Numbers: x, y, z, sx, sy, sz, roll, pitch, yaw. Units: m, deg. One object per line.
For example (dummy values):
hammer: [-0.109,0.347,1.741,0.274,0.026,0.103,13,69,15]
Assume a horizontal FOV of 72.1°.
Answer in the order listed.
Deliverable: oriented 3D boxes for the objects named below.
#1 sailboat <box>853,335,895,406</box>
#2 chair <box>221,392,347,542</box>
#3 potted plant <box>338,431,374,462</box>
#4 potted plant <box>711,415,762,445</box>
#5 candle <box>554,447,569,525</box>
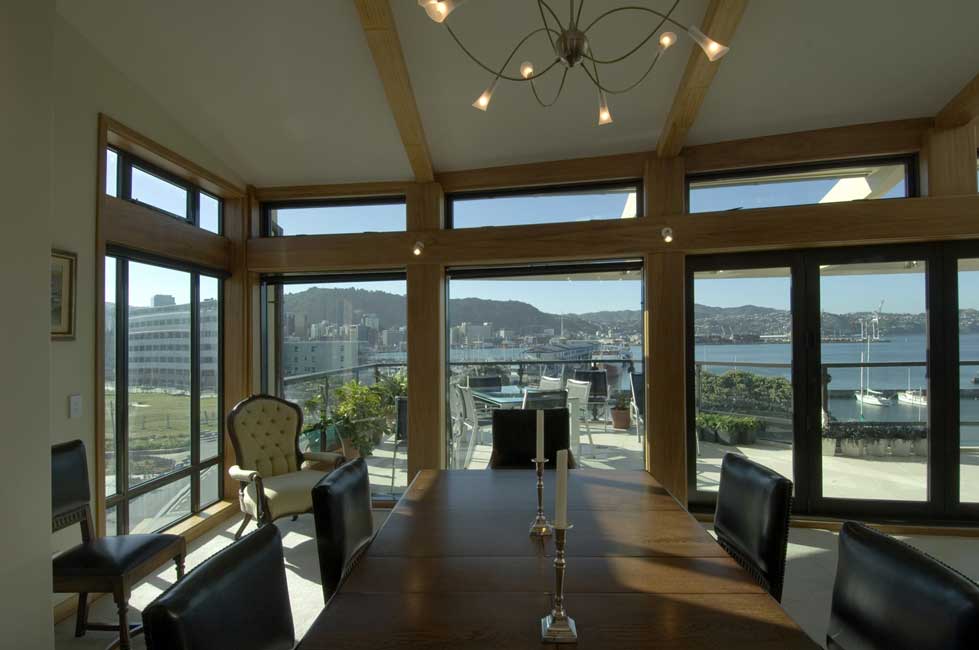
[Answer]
sailboat: [3.356,0.413,5.902,0.293,0.601,0.065,0,-4,-9]
chair: [-1.763,1.242,5.811,0.695,1.183,0.955,4,3,44]
potted plant: [-1.304,1.162,6.590,0.294,0.284,0.284,0,3,2]
potted plant: [2.216,0.925,6.026,0.311,0.207,0.279,1,-7,-6]
candle: [0.373,0.851,3.494,0.049,0.397,0.149,-1,-4,12]
